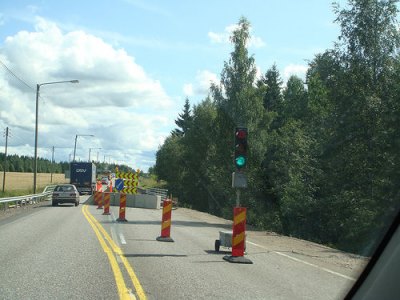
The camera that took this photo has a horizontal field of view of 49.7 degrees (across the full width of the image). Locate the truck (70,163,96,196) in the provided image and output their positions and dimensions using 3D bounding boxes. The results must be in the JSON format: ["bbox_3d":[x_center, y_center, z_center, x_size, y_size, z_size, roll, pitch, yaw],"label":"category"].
[{"bbox_3d":[-12.981,2.982,48.775,1.840,2.511,4.004,1,0,-5],"label":"truck"}]

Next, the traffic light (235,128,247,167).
[{"bbox_3d":[1.557,-0.114,16.450,0.489,1.313,0.403,5,-2,5],"label":"traffic light"}]

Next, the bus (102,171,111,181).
[{"bbox_3d":[-25.848,7.022,119.877,1.710,2.210,3.186,0,-7,-10],"label":"bus"}]
